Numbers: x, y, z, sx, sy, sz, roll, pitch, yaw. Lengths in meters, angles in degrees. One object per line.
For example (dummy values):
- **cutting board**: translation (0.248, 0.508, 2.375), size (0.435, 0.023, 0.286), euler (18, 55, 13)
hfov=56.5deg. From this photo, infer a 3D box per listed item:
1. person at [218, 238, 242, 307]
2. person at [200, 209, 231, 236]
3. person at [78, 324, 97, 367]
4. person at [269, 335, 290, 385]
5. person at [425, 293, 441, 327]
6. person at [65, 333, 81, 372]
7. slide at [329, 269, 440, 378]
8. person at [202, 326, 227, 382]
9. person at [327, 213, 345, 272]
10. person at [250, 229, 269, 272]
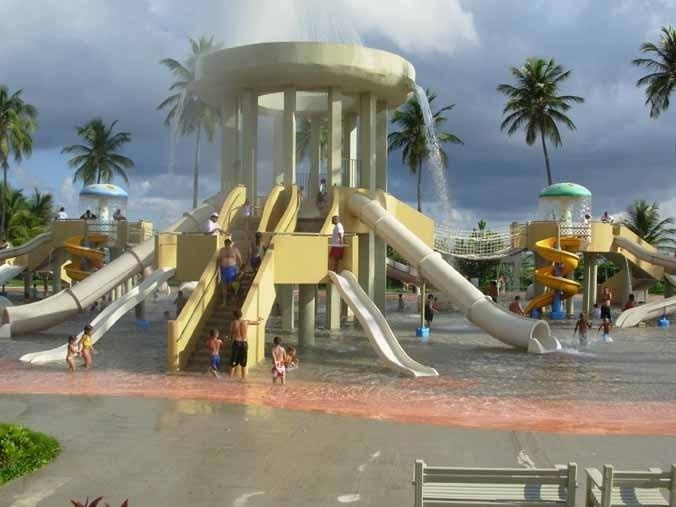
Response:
- **person**: translation (-3.123, 0.519, 18.324), size (0.647, 1.873, 0.793), euler (-1, 3, -9)
- **person**: translation (-3.920, -0.957, 20.248), size (1.032, 1.049, 0.754), euler (-1, -3, 21)
- **person**: translation (-7.055, 2.549, 17.721), size (0.370, 1.098, 1.785), euler (-2, 3, -22)
- **person**: translation (-1.449, 2.573, 15.742), size (0.350, 1.132, 1.313), euler (-1, 3, -5)
- **person**: translation (4.350, 2.651, 28.997), size (0.396, 1.578, 0.553), euler (0, 9, -25)
- **person**: translation (-7.165, 2.657, 17.127), size (0.303, 0.794, 1.359), euler (-2, 3, -23)
- **slide**: translation (1.083, 1.846, 17.746), size (0.919, 2.502, 4.071), euler (-3, 3, -32)
- **person**: translation (-3.150, 2.487, 16.316), size (0.336, 1.215, 1.482), euler (-1, 3, -11)
- **person**: translation (-0.023, -0.173, 19.783), size (0.586, 1.506, 0.452), euler (-2, 3, -14)
- **person**: translation (-2.382, -0.050, 19.055), size (0.504, 1.200, 1.162), euler (-1, 3, -7)
